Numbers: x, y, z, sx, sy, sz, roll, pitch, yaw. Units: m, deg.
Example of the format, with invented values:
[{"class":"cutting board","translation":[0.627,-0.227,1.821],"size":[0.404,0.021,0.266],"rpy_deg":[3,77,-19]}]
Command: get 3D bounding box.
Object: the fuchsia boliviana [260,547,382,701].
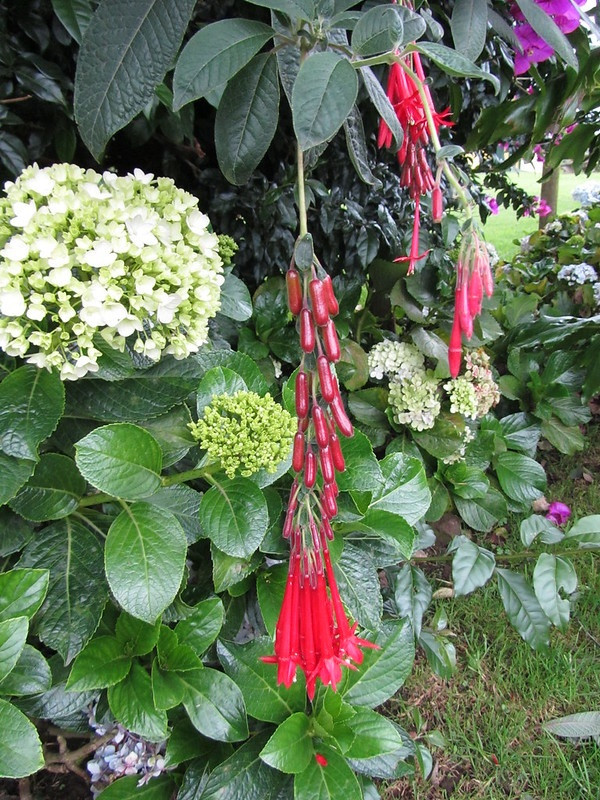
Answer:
[{"class":"fuchsia boliviana","translation":[0.033,0.378,1.172],"size":[0.105,0.357,0.175],"rpy_deg":[16,42,28]}]
